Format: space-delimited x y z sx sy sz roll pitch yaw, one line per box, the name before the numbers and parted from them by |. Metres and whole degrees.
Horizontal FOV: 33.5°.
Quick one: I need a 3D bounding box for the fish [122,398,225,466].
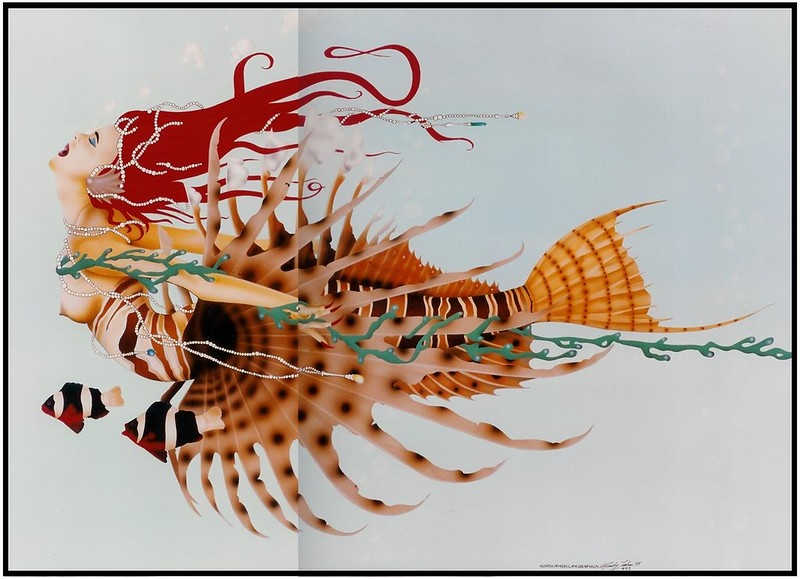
fish | -0.507 0.331 2.926 0.227 0.097 0.117 0 97 8
